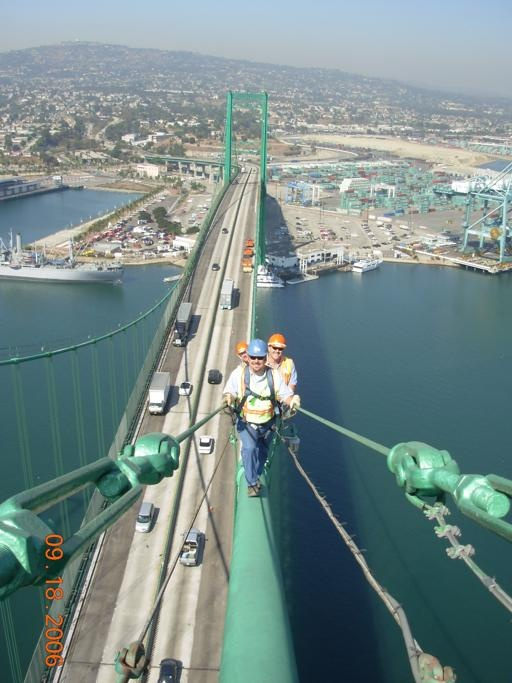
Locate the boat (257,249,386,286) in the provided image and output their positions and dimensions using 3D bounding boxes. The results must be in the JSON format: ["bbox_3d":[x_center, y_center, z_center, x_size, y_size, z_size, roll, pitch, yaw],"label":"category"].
[{"bbox_3d":[2.337,-2.558,18.937,4.640,0.887,0.782,-11,44,-17],"label":"boat"}]

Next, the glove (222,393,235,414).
[{"bbox_3d":[-0.113,0.268,2.323,0.071,0.034,0.095,1,42,-8],"label":"glove"}]

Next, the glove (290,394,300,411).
[{"bbox_3d":[0.164,0.269,2.311,0.051,0.067,0.070,6,7,1],"label":"glove"}]
